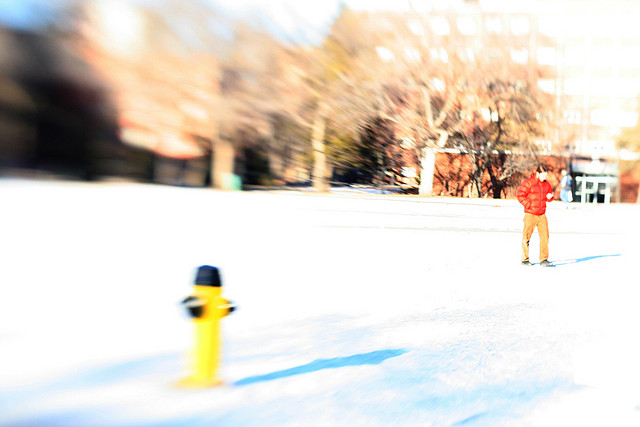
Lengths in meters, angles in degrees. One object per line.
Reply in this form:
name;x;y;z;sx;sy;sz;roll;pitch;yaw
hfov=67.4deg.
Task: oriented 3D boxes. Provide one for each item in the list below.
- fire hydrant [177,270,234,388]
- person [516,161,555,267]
fire hydrant;-1.144;1.066;4.669;0.522;1.207;0.825;-3;8;-17
person;4.310;0.058;9.478;0.699;2.015;0.750;3;9;23
